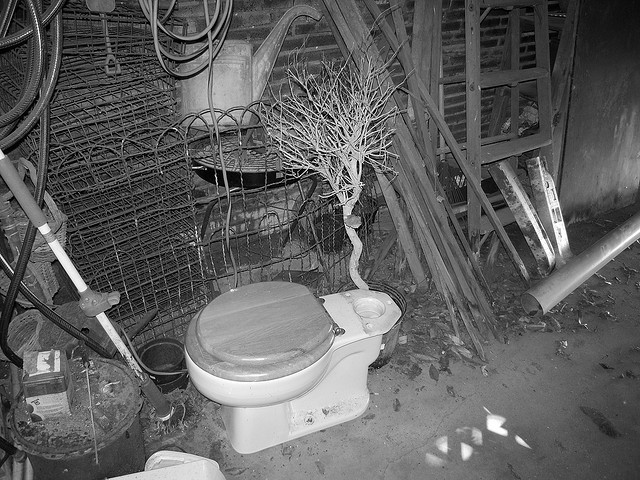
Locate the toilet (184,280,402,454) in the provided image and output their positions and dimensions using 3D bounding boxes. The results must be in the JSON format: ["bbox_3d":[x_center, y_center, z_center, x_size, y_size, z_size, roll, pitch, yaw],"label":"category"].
[{"bbox_3d":[-0.081,0.515,2.196,0.872,0.579,0.554,-11,35,-19],"label":"toilet"}]
